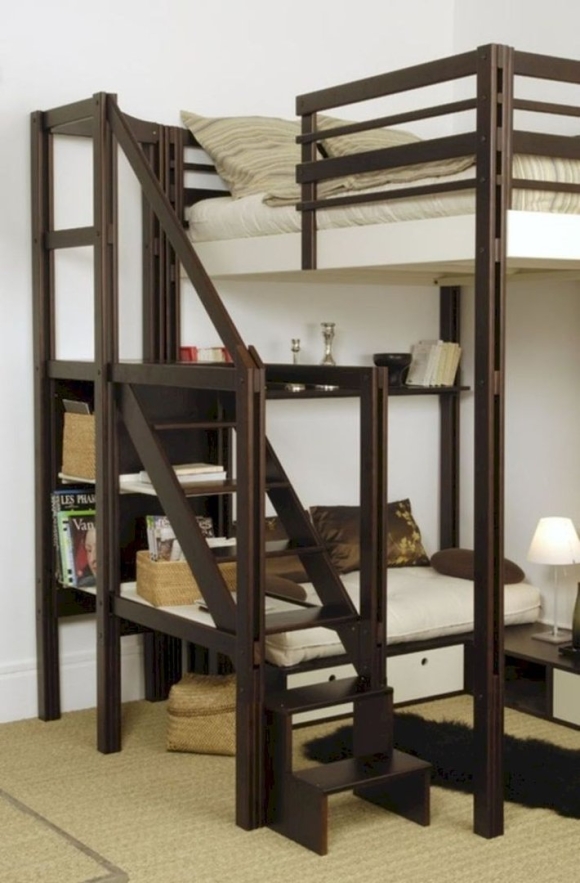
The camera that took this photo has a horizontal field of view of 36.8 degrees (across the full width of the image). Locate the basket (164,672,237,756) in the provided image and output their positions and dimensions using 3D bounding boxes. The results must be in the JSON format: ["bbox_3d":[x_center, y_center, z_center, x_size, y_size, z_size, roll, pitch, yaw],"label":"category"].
[{"bbox_3d":[-0.302,0.922,2.981,0.223,0.181,0.234,1,1,1],"label":"basket"}]

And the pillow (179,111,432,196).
[{"bbox_3d":[0.011,-0.993,3.020,0.485,0.136,0.482,-12,48,-27],"label":"pillow"}]

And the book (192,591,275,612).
[{"bbox_3d":[-0.160,0.520,2.758,0.166,0.041,0.161,-1,3,-29],"label":"book"}]

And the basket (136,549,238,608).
[{"bbox_3d":[-0.347,0.448,2.796,0.207,0.110,0.213,-1,2,-17],"label":"basket"}]
